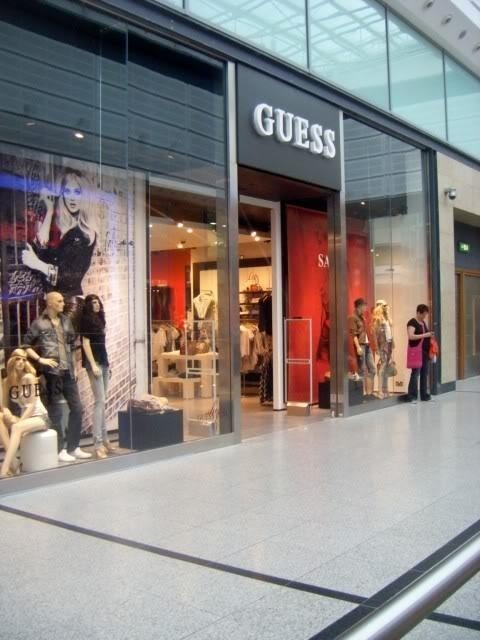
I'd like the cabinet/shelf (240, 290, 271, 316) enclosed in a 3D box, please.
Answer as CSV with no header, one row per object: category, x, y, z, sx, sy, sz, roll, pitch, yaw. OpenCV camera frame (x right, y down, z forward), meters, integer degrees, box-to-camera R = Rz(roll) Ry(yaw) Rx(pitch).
cabinet/shelf,0.292,-0.332,9.367,0.590,0.503,1.727,-1,1,1

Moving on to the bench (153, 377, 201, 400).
bench,-0.605,0.655,4.879,0.068,0.218,0.630,0,1,32

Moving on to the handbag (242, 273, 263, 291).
handbag,0.259,-0.808,10.119,0.252,0.293,0.115,8,14,30

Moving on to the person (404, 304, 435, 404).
person,3.100,0.556,8.592,0.423,1.295,0.978,0,1,31

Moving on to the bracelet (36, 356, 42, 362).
bracelet,-1.506,0.286,3.740,0.011,0.041,0.035,1,7,37
